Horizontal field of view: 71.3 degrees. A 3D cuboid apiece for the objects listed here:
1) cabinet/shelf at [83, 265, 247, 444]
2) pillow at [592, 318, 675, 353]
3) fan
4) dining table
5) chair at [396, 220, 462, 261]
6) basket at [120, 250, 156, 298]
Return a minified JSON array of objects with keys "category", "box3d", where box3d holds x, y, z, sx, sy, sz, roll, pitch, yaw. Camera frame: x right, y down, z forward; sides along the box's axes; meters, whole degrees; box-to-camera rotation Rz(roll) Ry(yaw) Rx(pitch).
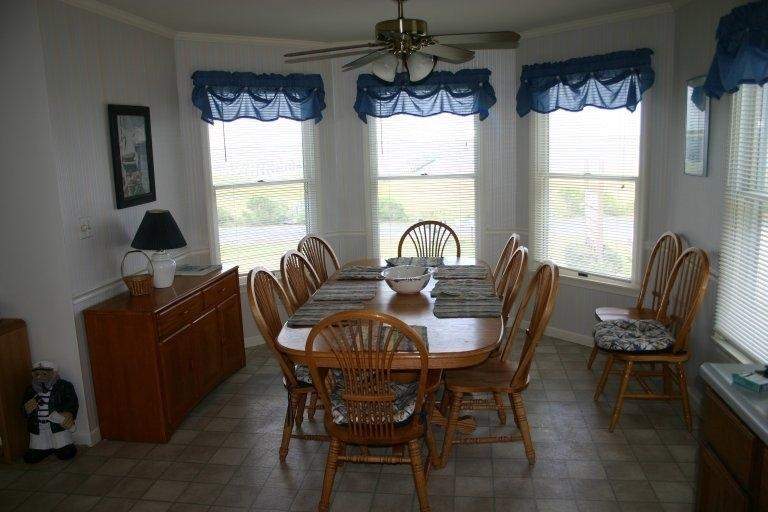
[{"category":"cabinet/shelf","box3d":[-1.729,0.780,4.130,0.502,0.972,1.180,0,13,6]},{"category":"pillow","box3d":[1.878,0.609,4.062,0.516,0.113,0.429,-1,13,9]},{"category":"fan","box3d":[0.162,-1.805,4.353,1.020,0.404,1.038,-4,7,-25]},{"category":"dining table","box3d":[-0.451,0.739,4.022,1.086,1.474,0.925,5,-26,-24]},{"category":"chair","box3d":[0.469,-0.176,5.474,0.523,0.671,0.475,1,9,6]},{"category":"basket","box3d":[-1.910,0.118,4.170,0.244,0.325,0.217,1,13,-15]}]
